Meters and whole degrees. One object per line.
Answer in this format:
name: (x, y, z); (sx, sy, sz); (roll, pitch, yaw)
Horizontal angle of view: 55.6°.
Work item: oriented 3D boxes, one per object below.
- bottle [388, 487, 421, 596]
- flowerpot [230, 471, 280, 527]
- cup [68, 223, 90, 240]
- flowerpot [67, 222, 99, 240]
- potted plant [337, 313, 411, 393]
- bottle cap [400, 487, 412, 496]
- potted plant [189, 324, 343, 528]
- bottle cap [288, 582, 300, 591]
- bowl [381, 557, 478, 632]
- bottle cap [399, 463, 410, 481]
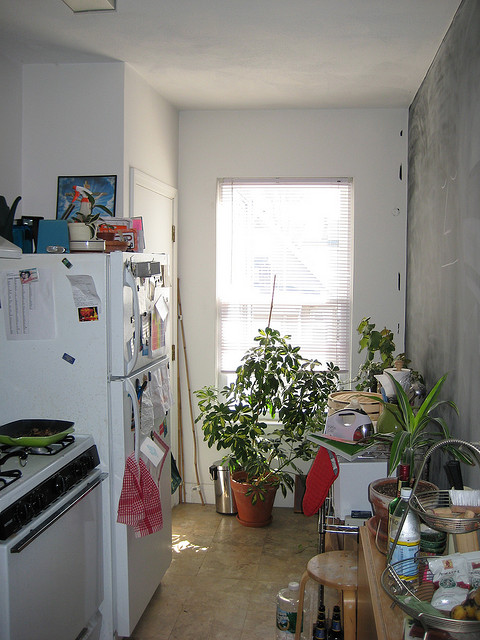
bottle: (0.338, 0.461, 0.954); (0.052, 0.254, 0.057); (6, 19, 28)
flowerpot: (0.101, 1.283, 3.348); (0.315, 0.402, 0.363); (4, 13, 15)
cup: (-0.700, -0.384, 1.998); (0.065, 0.061, 0.059); (1, 3, 0)
flowerpot: (-0.691, -0.383, 2.013); (0.070, 0.063, 0.065); (2, 2, -10)
potted plant: (0.914, 0.218, 3.093); (0.365, 0.673, 0.362); (-2, 12, 6)
bottle cap: (0.341, 0.355, 0.942); (0.019, 0.016, 0.013); (1, 1, -9)
potted plant: (0.274, 0.820, 3.823); (1.085, 2.023, 1.292); (1, 5, 13)
bottle cap: (0.220, 1.110, 1.908); (0.036, 0.028, 0.060); (0, 0, 1)
bowl: (0.254, 0.391, 0.624); (0.103, 0.036, 0.116); (4, 12, 26)
bottle cap: (0.368, 0.345, 1.027); (0.020, 0.038, 0.022); (0, -1, 15)
